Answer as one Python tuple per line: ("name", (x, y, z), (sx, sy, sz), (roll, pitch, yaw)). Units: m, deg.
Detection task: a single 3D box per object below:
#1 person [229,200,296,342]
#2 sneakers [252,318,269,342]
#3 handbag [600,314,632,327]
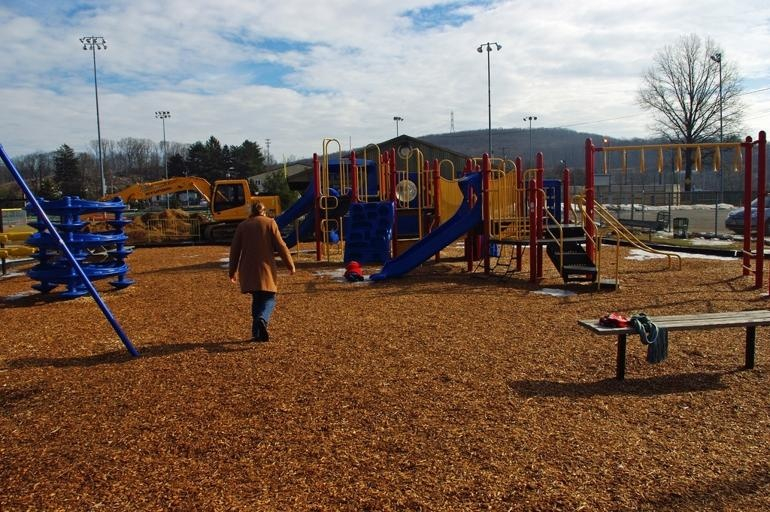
("person", (-1.759, 0.201, 9.156), (0.866, 1.920, 0.768), (-6, 10, -12))
("sneakers", (-1.731, 1.012, 9.030), (0.239, 0.357, 0.253), (-7, 11, -19))
("handbag", (2.730, 0.754, 7.712), (0.363, 0.116, 0.293), (-1, 9, 14))
